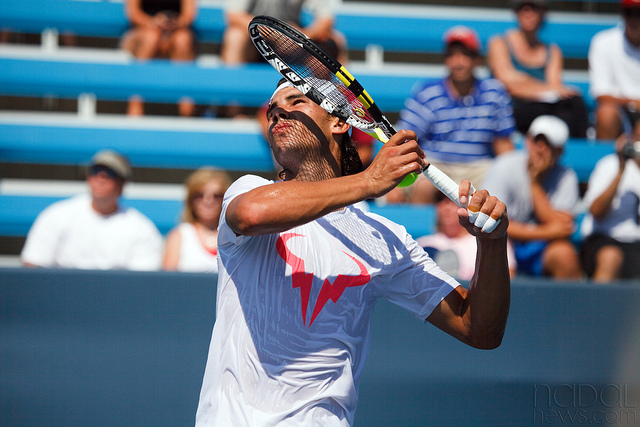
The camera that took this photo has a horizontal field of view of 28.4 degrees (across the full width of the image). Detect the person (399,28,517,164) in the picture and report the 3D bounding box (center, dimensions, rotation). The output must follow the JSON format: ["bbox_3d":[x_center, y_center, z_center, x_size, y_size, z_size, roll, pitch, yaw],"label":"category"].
[{"bbox_3d":[1.281,-1.039,11.343,1.322,1.305,0.667,2,-6,-3],"label":"person"}]

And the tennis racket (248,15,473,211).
[{"bbox_3d":[0.313,-0.779,10.103,2.366,0.621,0.190,38,53,0],"label":"tennis racket"}]

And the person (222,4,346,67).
[{"bbox_3d":[-0.340,-1.796,11.862,1.011,0.827,0.297,7,53,16],"label":"person"}]

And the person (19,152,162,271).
[{"bbox_3d":[-1.802,0.147,10.528,1.195,1.354,0.673,6,-21,-14],"label":"person"}]

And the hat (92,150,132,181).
[{"bbox_3d":[-1.814,-0.441,10.711,0.242,0.170,0.328,6,-6,-3],"label":"hat"}]

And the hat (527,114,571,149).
[{"bbox_3d":[1.956,-0.695,10.747,0.318,0.237,0.255,-4,16,-7],"label":"hat"}]
